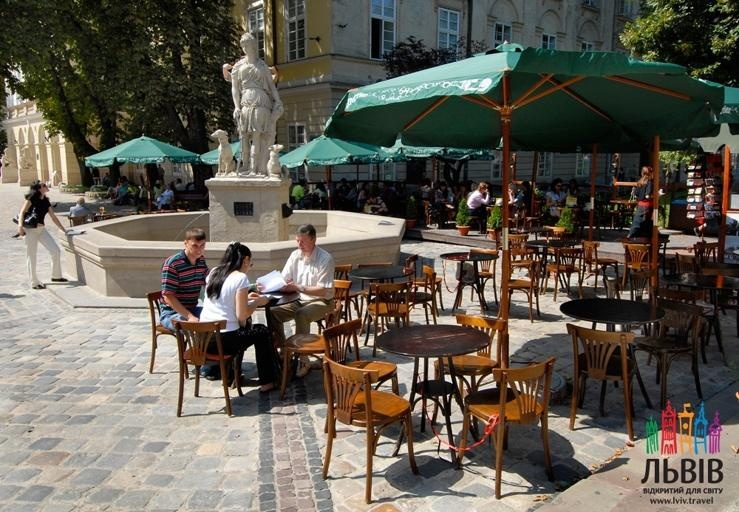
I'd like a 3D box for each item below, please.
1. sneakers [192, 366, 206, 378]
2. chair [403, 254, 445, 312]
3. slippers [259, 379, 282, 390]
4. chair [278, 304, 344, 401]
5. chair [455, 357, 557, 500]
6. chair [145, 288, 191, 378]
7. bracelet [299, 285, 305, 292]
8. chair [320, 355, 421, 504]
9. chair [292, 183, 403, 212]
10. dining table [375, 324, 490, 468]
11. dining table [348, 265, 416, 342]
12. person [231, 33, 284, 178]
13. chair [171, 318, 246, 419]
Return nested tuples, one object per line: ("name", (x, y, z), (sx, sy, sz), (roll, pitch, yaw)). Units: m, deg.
("sneakers", (-2.400, 1.642, 9.372), (0.138, 0.179, 0.444), (1, -8, -25))
("chair", (0.906, 0.697, 11.323), (0.535, 0.765, 0.489), (-12, 11, -8))
("slippers", (-1.406, 1.824, 9.326), (0.278, 0.106, 0.096), (-9, 14, -21))
("chair", (-0.915, 1.472, 9.328), (0.833, 0.735, 1.163), (-11, -8, -38))
("chair", (1.623, 1.872, 7.698), (1.168, 1.498, 0.893), (-2, 8, -9))
("chair", (-2.846, 1.147, 9.957), (0.843, 1.172, 0.837), (7, 7, 35))
("bracelet", (-0.992, 0.491, 9.773), (0.049, 0.071, 0.075), (7, 3, -1))
("chair", (-0.011, 1.921, 7.702), (1.104, 1.492, 1.042), (-1, 8, -1))
("chair", (-0.277, -2.068, 24.705), (2.435, 0.871, 1.907), (1, 3, 37))
("dining table", (0.943, 1.646, 8.400), (1.624, 1.613, 1.463), (-4, 6, -18))
("dining table", (0.268, 0.864, 10.844), (1.243, 1.281, 1.176), (-3, 7, -13))
("person", (-2.640, -3.492, 15.421), (1.103, 3.216, 0.925), (-2, 8, -8))
("chair", (-2.242, 1.480, 9.179), (0.881, 1.278, 0.992), (1, 6, 12))
